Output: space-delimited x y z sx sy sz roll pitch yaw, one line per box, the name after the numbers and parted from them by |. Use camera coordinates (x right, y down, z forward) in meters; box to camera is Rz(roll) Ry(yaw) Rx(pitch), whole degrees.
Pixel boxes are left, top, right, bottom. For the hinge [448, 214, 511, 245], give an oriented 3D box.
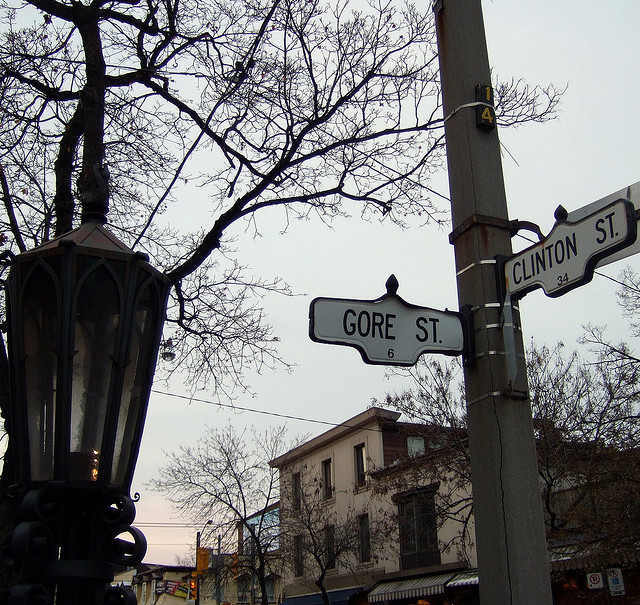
0.877 -0.425 4.955 0.354 0.089 0.157 -14 -23 18 | hinge
